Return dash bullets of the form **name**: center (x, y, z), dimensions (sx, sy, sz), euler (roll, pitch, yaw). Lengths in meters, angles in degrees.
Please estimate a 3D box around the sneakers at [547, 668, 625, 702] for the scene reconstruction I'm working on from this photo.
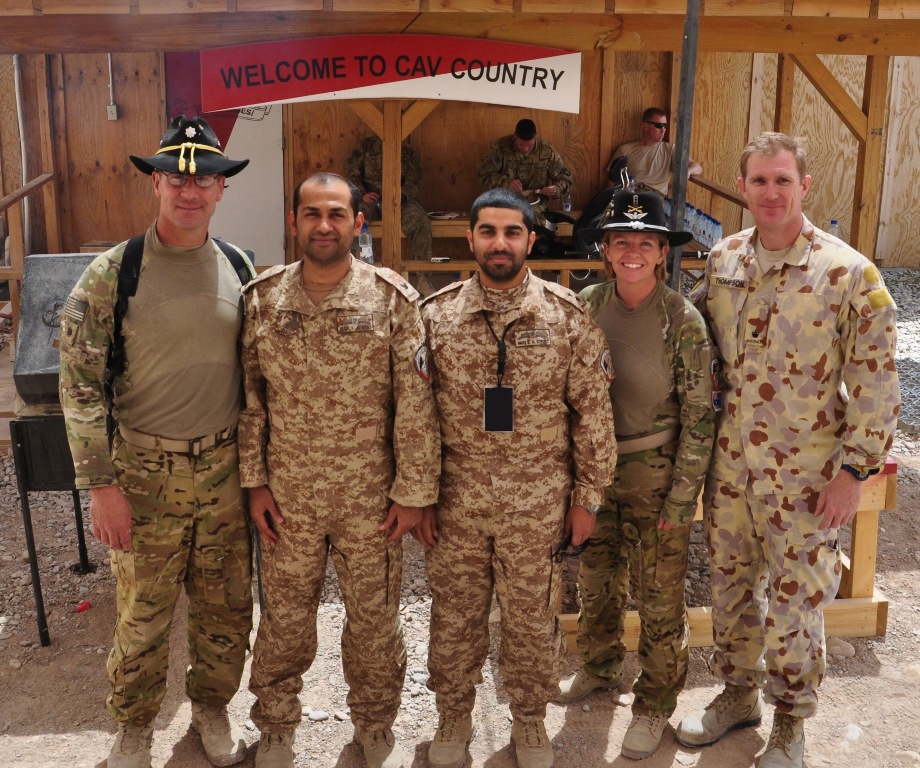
- **sneakers**: center (0.627, 1.538, 5.302), dimensions (0.442, 0.178, 0.159), euler (-1, 15, -15)

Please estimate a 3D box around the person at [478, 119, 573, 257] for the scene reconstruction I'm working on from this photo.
- **person**: center (0.614, -1.873, 10.113), dimensions (0.821, 1.358, 0.767), euler (5, 15, 24)

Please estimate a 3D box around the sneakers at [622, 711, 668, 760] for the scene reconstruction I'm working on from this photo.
- **sneakers**: center (0.874, 1.687, 4.873), dimensions (0.104, 0.113, 0.299), euler (4, -3, 26)

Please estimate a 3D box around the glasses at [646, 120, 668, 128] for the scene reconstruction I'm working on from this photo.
- **glasses**: center (2.027, -2.626, 10.444), dimensions (0.216, 0.082, 0.104), euler (-9, 14, -32)

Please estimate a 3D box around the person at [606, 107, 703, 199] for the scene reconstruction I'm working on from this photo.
- **person**: center (1.953, -2.312, 10.490), dimensions (1.030, 0.913, 0.599), euler (-5, 17, -9)

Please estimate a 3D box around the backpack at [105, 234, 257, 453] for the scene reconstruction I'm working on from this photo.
- **backpack**: center (-1.294, -0.216, 4.641), dimensions (0.691, 0.892, 0.305), euler (-7, 13, -26)

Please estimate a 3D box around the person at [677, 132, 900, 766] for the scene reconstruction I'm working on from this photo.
- **person**: center (1.510, 0.338, 4.732), dimensions (0.909, 2.912, 0.677), euler (3, 13, 24)

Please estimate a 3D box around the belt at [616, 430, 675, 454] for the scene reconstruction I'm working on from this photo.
- **belt**: center (0.868, 0.279, 4.806), dimensions (0.250, 0.112, 0.036), euler (-1, 12, 4)

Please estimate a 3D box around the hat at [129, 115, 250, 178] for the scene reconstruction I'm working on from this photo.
- **hat**: center (-1.245, -1.108, 4.772), dimensions (0.592, 0.255, 0.638), euler (-4, 11, -23)
